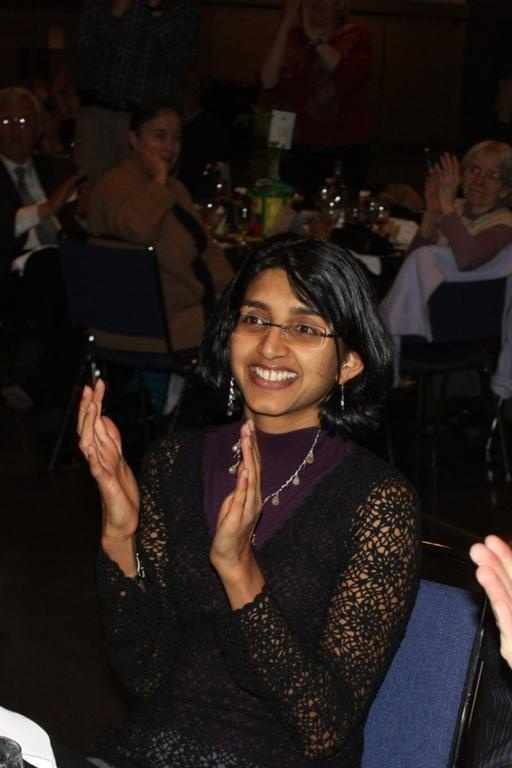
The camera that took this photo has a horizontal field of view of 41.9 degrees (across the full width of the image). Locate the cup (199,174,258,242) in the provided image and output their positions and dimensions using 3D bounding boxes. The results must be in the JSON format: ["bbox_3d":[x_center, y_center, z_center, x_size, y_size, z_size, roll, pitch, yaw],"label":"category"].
[{"bbox_3d":[-0.099,-0.752,2.833,0.270,0.279,0.256,-2,17,1],"label":"cup"}]

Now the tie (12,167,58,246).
[{"bbox_3d":[-0.928,-0.742,2.812,0.218,0.285,0.089,2,13,2],"label":"tie"}]

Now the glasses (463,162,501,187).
[{"bbox_3d":[0.890,-0.829,2.638,0.149,0.085,0.034,2,32,13],"label":"glasses"}]
